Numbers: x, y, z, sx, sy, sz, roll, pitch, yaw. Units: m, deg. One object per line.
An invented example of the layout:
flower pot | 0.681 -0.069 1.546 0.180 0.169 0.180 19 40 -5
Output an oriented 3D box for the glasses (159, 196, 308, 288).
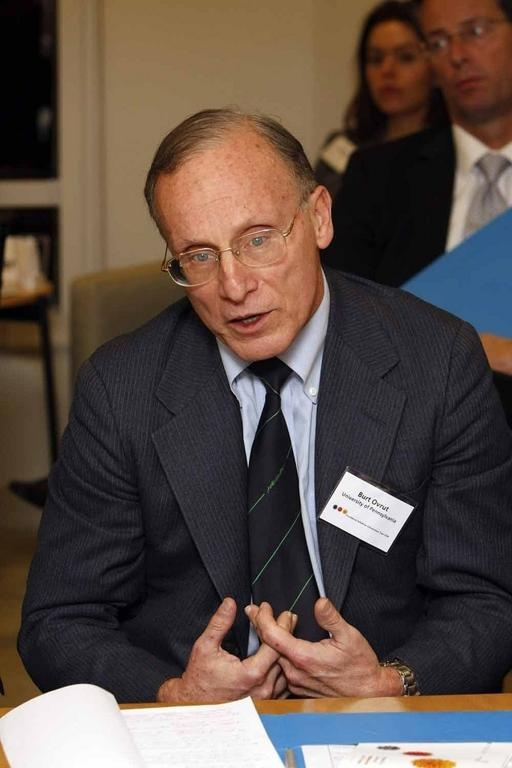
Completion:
glasses | -0.026 -0.249 1.107 0.207 0.166 0.092 2 -9 3

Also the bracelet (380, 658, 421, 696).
bracelet | 0.233 0.456 1.013 0.040 0.060 0.055 -11 -21 -27

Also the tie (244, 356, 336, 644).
tie | 0.052 0.216 1.111 0.133 0.415 0.057 -1 -10 21

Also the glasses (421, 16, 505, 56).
glasses | 0.588 -0.993 1.861 0.103 0.032 0.133 -14 12 41
